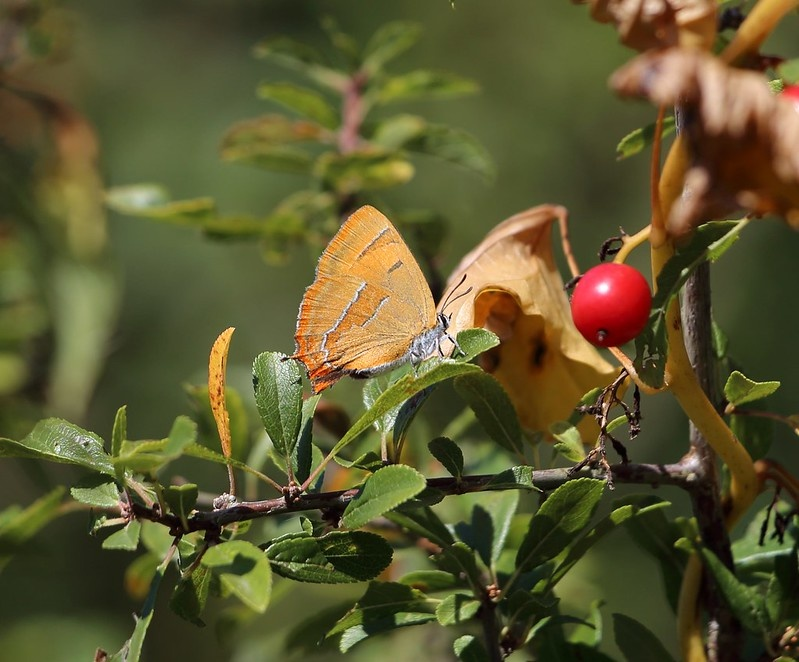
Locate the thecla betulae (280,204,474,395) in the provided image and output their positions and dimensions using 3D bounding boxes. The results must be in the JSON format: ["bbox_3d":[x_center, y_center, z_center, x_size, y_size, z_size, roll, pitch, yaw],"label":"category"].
[{"bbox_3d":[-0.025,0.015,1.668,0.304,0.335,0.256,-1,25,-11],"label":"thecla betulae"}]
